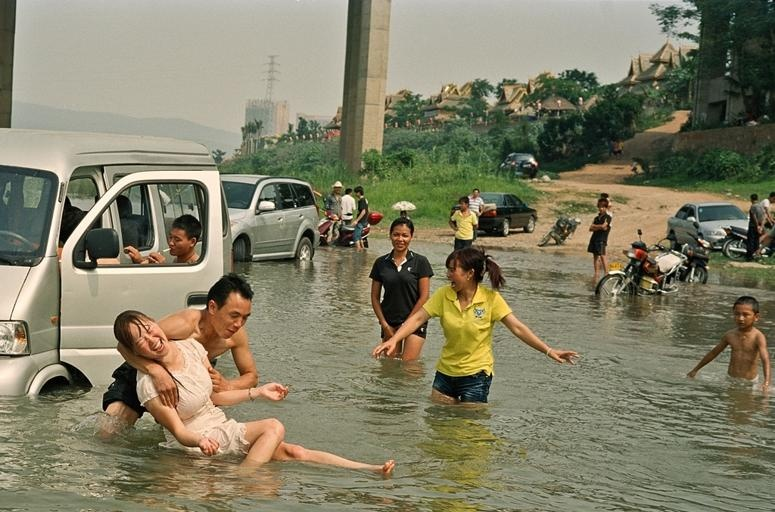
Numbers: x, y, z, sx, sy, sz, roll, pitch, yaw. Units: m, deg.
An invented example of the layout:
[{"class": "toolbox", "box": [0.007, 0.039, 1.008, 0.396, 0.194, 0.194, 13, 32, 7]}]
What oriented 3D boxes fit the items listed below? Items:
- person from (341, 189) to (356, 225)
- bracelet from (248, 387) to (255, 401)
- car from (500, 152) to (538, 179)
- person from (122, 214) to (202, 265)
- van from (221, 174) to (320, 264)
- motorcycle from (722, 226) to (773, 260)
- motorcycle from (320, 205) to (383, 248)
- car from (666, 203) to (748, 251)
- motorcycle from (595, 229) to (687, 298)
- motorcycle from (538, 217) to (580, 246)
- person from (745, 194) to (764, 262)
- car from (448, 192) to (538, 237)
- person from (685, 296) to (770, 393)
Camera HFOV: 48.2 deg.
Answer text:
[{"class": "person", "box": [-1.395, -1.448, 29.140, 0.581, 1.637, 0.542, 2, 20, -8]}, {"class": "bracelet", "box": [-1.313, 1.345, 8.445, 0.090, 0.093, 0.039, 2, 1, 32]}, {"class": "car", "box": [7.913, -5.419, 52.141, 1.323, 0.966, 2.582, 0, 9, -2]}, {"class": "person", "box": [-2.596, -0.149, 9.980, 0.801, 0.373, 0.592, -4, 21, -20]}, {"class": "van", "box": [-3.071, -0.972, 21.895, 1.744, 1.312, 2.835, 2, -2, 23]}, {"class": "motorcycle", "box": [11.287, -0.379, 26.812, 1.731, 0.965, 0.744, 1, -1, 11]}, {"class": "motorcycle", "box": [-1.432, -0.803, 28.188, 2.482, 1.312, 1.031, 0, 2, -5]}, {"class": "car", "box": [10.596, -1.067, 29.224, 1.919, 1.343, 3.913, 0, 0, -10]}, {"class": "motorcycle", "box": [5.844, 0.309, 19.615, 3.074, 1.446, 1.217, -2, 13, -39]}, {"class": "motorcycle", "box": [6.636, -0.911, 33.329, 1.352, 0.570, 0.723, -34, -27, -14]}, {"class": "person", "box": [11.123, -0.736, 26.073, 0.453, 1.700, 1.210, 7, 10, 23]}, {"class": "car", "box": [4.696, -1.623, 34.974, 1.934, 1.220, 3.953, 3, 8, 28]}, {"class": "person", "box": [5.176, 1.368, 13.159, 1.095, 1.424, 0.608, 11, 11, 36]}]
